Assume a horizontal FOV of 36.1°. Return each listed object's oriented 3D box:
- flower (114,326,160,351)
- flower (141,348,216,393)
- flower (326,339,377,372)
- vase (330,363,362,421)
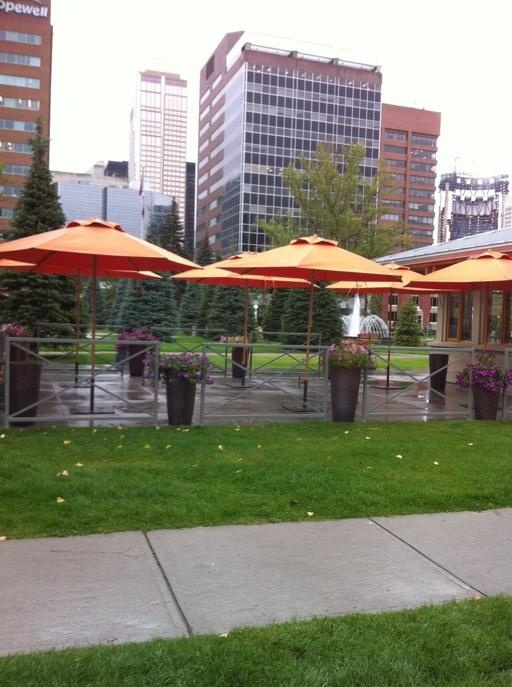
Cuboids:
[{"bbox_3d":[-2.392,-0.166,16.228,1.009,0.545,0.949,0,7,8],"label":"flower"},{"bbox_3d":[-1.002,0.411,9.840,0.771,0.383,0.721,1,6,-3],"label":"flower"},{"bbox_3d":[1.296,0.167,10.748,0.580,0.395,0.595,4,6,12],"label":"flower"},{"bbox_3d":[1.199,0.688,10.703,0.402,0.779,0.398,3,6,5],"label":"vase"}]
